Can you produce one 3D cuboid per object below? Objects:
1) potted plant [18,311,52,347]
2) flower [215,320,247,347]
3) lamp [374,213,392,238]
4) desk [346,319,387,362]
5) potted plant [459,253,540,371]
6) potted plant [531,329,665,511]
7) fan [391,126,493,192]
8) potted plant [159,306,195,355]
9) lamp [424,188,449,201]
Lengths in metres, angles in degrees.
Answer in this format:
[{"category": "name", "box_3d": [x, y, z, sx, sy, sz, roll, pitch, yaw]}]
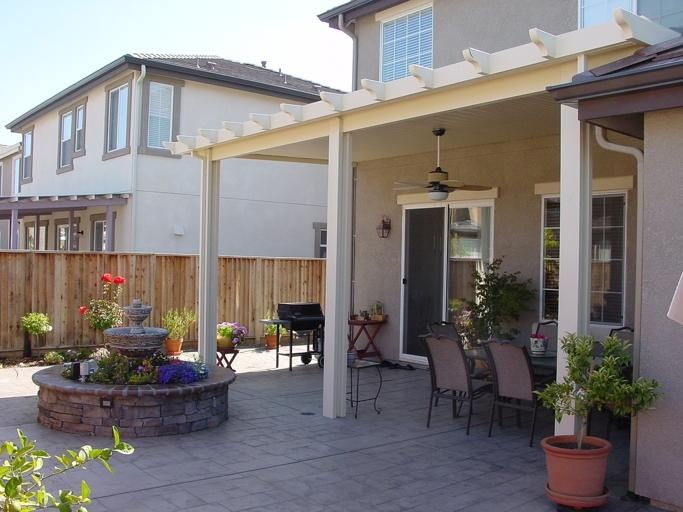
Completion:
[{"category": "potted plant", "box_3d": [-5.624, 1.337, 10.733, 0.538, 0.561, 0.567, 1, 1, -29]}, {"category": "flower", "box_3d": [-2.041, 1.443, 10.767, 0.502, 0.285, 0.503, 2, 2, 16]}, {"category": "lamp", "box_3d": [0.837, -0.580, 11.569, 0.107, 0.354, 0.343, 1, 1, -42]}, {"category": "desk", "box_3d": [0.593, 1.706, 11.684, 0.596, 0.527, 0.599, 11, -20, 3]}, {"category": "potted plant", "box_3d": [2.700, 0.782, 9.671, 1.673, 1.846, 1.456, 5, 7, 40]}, {"category": "potted plant", "box_3d": [2.245, 1.437, 5.129, 0.860, 1.419, 0.730, 2, 1, 26]}, {"category": "fan", "box_3d": [1.390, -1.449, 8.954, 1.068, 0.967, 1.393, 8, 14, 32]}, {"category": "potted plant", "box_3d": [-3.429, 1.573, 11.880, 0.576, 0.895, 0.652, 2, -1, 17]}, {"category": "lamp", "box_3d": [1.505, -0.974, 9.148, 0.408, 0.187, 0.396, 1, -1, -1]}]
